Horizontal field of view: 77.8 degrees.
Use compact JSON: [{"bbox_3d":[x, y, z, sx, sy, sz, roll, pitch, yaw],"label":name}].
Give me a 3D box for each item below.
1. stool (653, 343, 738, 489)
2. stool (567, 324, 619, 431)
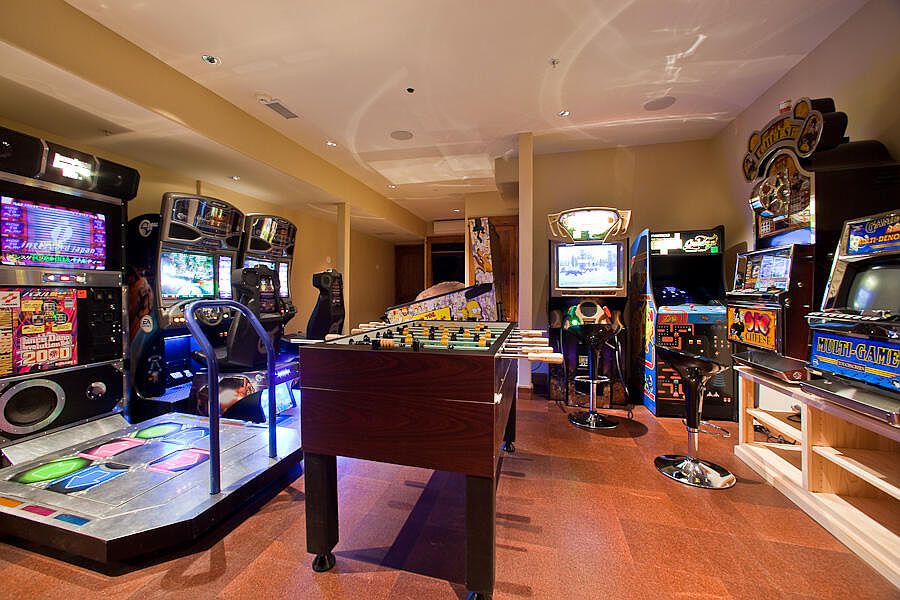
[{"bbox_3d":[2.232,1.019,5.109,0.685,1.249,0.520,1,3,25],"label":"stool"},{"bbox_3d":[1.585,0.790,6.190,0.522,1.094,0.715,1,3,15],"label":"stool"}]
